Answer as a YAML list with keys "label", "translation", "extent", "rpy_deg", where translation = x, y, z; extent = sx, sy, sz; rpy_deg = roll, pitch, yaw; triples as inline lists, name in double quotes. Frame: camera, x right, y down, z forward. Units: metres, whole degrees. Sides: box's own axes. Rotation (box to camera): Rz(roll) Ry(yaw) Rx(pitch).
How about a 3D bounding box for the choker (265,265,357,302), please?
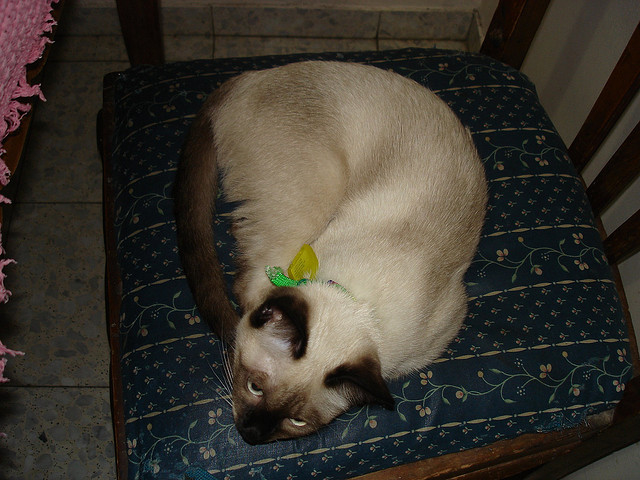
- label: "choker"
  translation: [-0.033, 0.131, 1.888]
  extent: [0.254, 0.037, 0.043]
  rpy_deg: [12, 52, -1]
